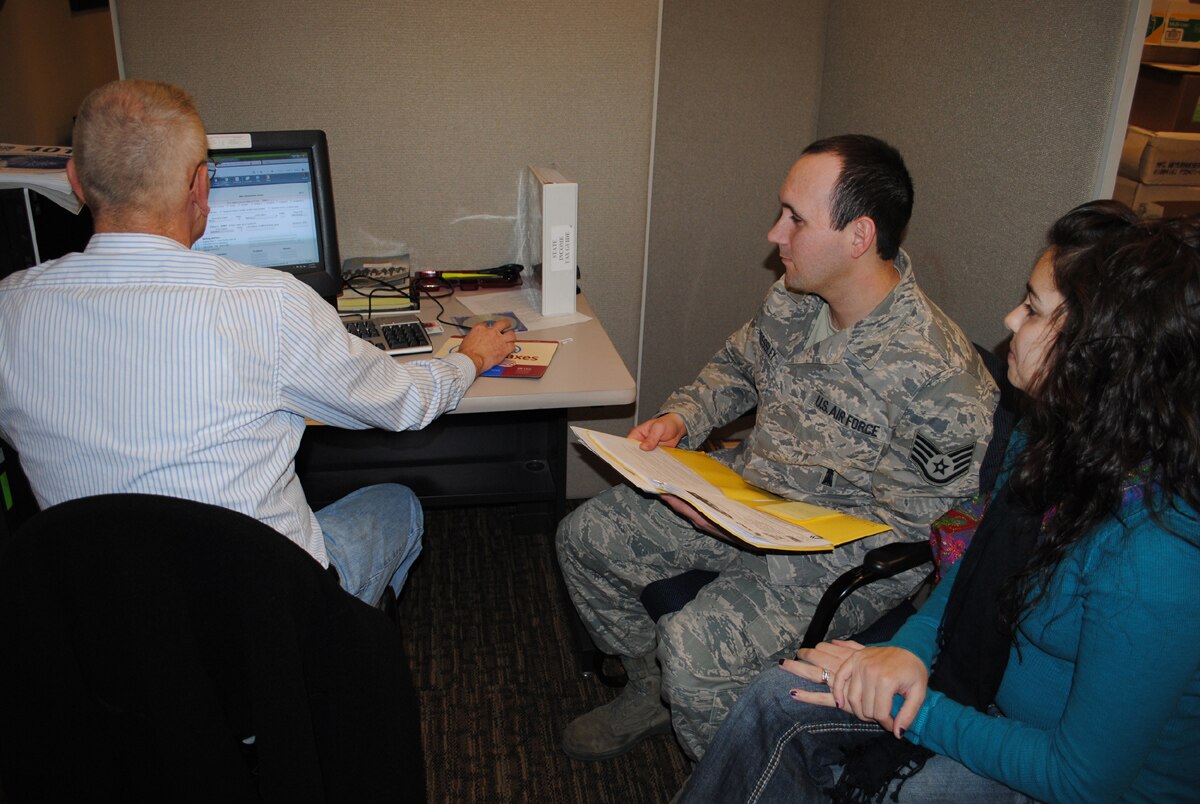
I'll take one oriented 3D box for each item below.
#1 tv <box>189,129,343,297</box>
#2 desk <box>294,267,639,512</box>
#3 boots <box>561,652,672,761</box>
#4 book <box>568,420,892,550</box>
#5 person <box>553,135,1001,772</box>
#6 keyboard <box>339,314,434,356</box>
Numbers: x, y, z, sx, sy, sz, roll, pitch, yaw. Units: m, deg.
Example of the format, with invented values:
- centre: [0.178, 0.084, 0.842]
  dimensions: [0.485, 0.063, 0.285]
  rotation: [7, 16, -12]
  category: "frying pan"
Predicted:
- centre: [-1.076, -0.546, 2.664]
  dimensions: [0.299, 0.457, 0.518]
  rotation: [10, 19, 38]
  category: "tv"
- centre: [-0.412, -0.048, 2.737]
  dimensions: [0.837, 0.468, 0.780]
  rotation: [-4, 29, -6]
  category: "desk"
- centre: [0.056, 0.805, 2.423]
  dimensions: [0.339, 0.211, 0.141]
  rotation: [-14, 30, -28]
  category: "boots"
- centre: [0.308, 0.207, 2.119]
  dimensions: [0.643, 0.096, 0.496]
  rotation: [21, 19, 40]
  category: "book"
- centre: [0.418, 0.222, 2.362]
  dimensions: [1.046, 1.650, 0.933]
  rotation: [-20, 31, -35]
  category: "person"
- centre: [-0.586, -0.188, 2.558]
  dimensions: [0.179, 0.041, 0.180]
  rotation: [-4, 33, -21]
  category: "keyboard"
